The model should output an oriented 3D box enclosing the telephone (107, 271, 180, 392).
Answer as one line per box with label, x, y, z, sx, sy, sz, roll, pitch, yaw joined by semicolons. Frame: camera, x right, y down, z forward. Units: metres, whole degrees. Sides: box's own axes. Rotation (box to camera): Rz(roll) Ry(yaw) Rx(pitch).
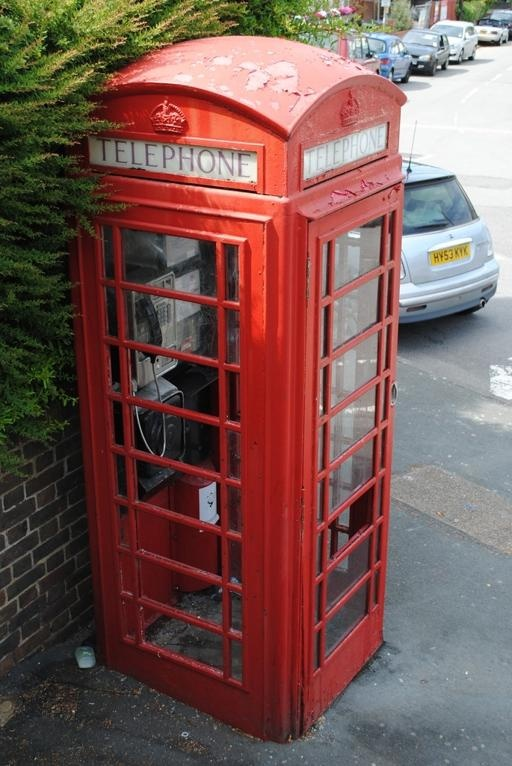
telephone;-0.438;-0.210;2.782;0.228;0.407;0.255;13;31;17
